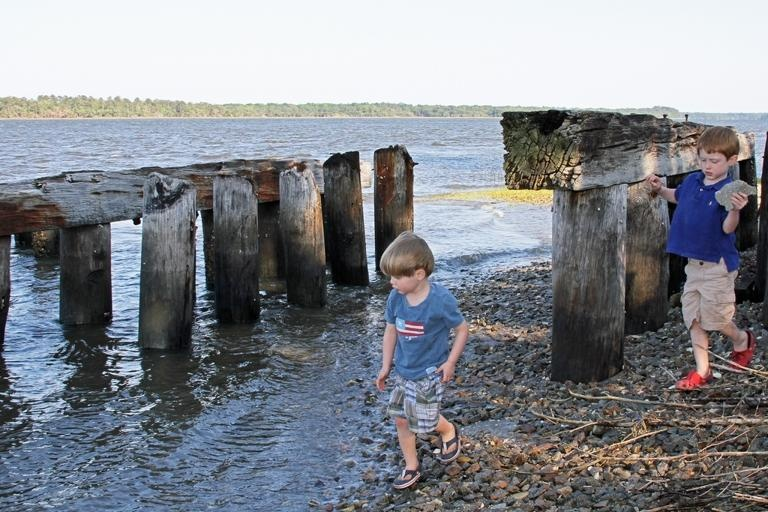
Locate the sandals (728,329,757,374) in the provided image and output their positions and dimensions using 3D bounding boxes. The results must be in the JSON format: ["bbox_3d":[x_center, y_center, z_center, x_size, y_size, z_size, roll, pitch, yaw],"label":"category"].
[{"bbox_3d":[3.010,0.810,5.820,0.155,0.361,0.143,7,10,-13],"label":"sandals"}]

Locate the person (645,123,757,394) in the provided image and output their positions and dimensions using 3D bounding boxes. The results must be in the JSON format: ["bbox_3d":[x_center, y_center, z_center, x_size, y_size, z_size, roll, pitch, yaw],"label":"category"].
[{"bbox_3d":[2.731,0.002,5.802,0.693,2.154,0.634,1,9,26],"label":"person"}]

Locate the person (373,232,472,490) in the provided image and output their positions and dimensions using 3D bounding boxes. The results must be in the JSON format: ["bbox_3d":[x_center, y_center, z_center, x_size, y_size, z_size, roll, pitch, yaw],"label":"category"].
[{"bbox_3d":[0.286,0.844,5.388,0.700,2.058,0.269,-2,8,3],"label":"person"}]

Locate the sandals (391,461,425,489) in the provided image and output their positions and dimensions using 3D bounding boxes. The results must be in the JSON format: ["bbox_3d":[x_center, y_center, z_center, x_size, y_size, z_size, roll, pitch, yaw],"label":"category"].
[{"bbox_3d":[0.205,1.767,5.602,0.133,0.111,0.279,1,7,44],"label":"sandals"}]

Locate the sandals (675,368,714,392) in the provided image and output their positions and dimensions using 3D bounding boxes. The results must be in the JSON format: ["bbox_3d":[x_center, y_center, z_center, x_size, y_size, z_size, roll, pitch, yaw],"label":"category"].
[{"bbox_3d":[2.571,1.018,5.746,0.288,0.097,0.146,-11,6,-12],"label":"sandals"}]

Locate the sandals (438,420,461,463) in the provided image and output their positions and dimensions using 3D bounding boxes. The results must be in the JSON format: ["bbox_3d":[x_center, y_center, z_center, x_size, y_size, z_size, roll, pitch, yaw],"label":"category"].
[{"bbox_3d":[0.528,1.541,5.685,0.159,0.135,0.365,-10,20,19],"label":"sandals"}]
